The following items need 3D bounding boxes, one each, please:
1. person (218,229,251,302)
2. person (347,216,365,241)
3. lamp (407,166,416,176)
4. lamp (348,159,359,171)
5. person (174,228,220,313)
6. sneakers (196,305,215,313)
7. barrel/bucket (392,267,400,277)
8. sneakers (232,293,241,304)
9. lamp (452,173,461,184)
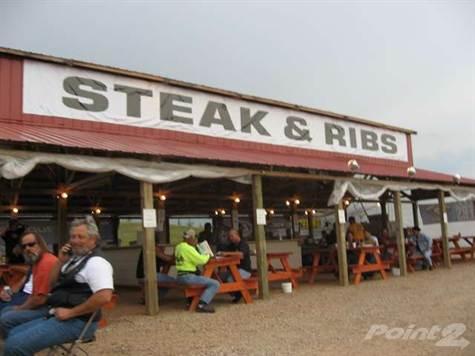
[{"bbox_3d":[-0.070,2.144,11.765,0.960,1.703,0.808,16,-36,-19],"label":"person"},{"bbox_3d":[3.852,1.620,15.759,0.454,0.419,1.127,-11,-41,22],"label":"person"},{"bbox_3d":[5.396,-0.246,15.159,0.316,0.293,0.249,-22,14,-38],"label":"lamp"},{"bbox_3d":[3.197,-0.396,13.503,0.260,0.354,0.598,-5,-11,13],"label":"lamp"},{"bbox_3d":[-0.894,2.007,10.671,0.919,1.793,0.793,-1,-10,-9],"label":"person"},{"bbox_3d":[-0.671,2.735,10.331,0.322,0.133,0.169,-1,-5,1],"label":"sneakers"},{"bbox_3d":[4.800,2.811,14.749,0.234,0.272,0.249,2,-1,0],"label":"barrel/bucket"},{"bbox_3d":[-0.042,2.809,11.501,0.222,0.220,0.166,-10,-20,33],"label":"sneakers"},{"bbox_3d":[7.612,-0.020,16.841,0.294,0.349,0.357,1,-12,-6],"label":"lamp"}]
